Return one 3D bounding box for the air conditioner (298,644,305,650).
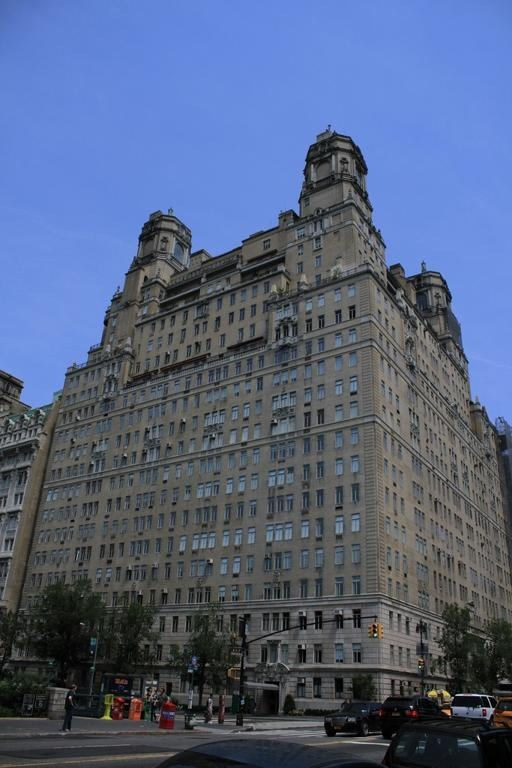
[{"bbox_3d":[3.786,21.720,54.299,0.641,0.451,0.353,-12,-28,28],"label":"air conditioner"}]

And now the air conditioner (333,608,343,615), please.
[{"bbox_3d":[6.685,18.552,53.354,0.777,0.548,0.436,-12,-18,43],"label":"air conditioner"}]

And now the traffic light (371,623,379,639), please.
[{"bbox_3d":[7.091,14.708,39.244,0.410,0.741,0.618,-1,-24,9],"label":"traffic light"}]

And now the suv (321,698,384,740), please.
[{"bbox_3d":[4.484,15.138,30.088,1.800,1.321,4.117,-17,-41,23],"label":"suv"}]

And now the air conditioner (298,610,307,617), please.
[{"bbox_3d":[3.900,19.333,55.353,0.704,0.717,0.501,3,1,-4],"label":"air conditioner"}]
